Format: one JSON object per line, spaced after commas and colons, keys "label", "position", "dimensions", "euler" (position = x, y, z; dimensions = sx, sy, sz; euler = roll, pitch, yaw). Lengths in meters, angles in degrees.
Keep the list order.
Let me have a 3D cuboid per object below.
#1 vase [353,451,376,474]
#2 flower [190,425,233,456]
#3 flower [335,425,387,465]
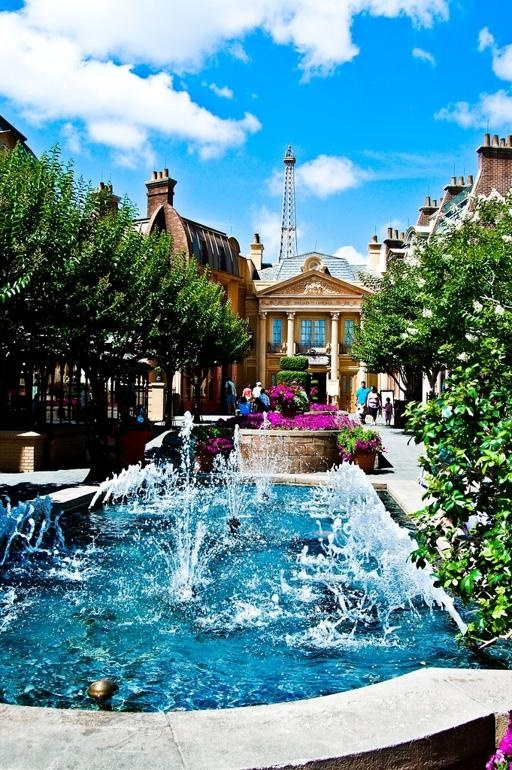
{"label": "vase", "position": [2.107, 1.537, 12.591], "dimensions": [0.400, 0.316, 0.403], "euler": [2, -6, -30]}
{"label": "flower", "position": [-0.923, 1.124, 13.077], "dimensions": [0.598, 0.311, 0.610], "euler": [-2, 12, -21]}
{"label": "flower", "position": [1.994, 1.212, 12.751], "dimensions": [0.672, 0.525, 0.702], "euler": [1, -9, -6]}
